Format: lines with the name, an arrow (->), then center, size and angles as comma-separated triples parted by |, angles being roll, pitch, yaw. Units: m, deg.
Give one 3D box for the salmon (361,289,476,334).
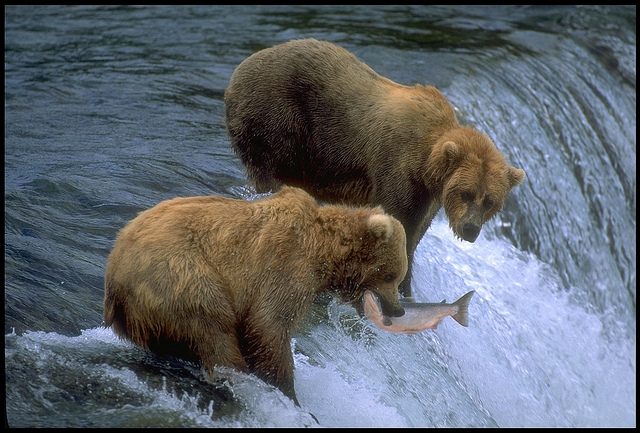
salmon -> 1.232, 1.153, 9.865 | 1.408, 0.493, 0.349 | -9, -24, 42
